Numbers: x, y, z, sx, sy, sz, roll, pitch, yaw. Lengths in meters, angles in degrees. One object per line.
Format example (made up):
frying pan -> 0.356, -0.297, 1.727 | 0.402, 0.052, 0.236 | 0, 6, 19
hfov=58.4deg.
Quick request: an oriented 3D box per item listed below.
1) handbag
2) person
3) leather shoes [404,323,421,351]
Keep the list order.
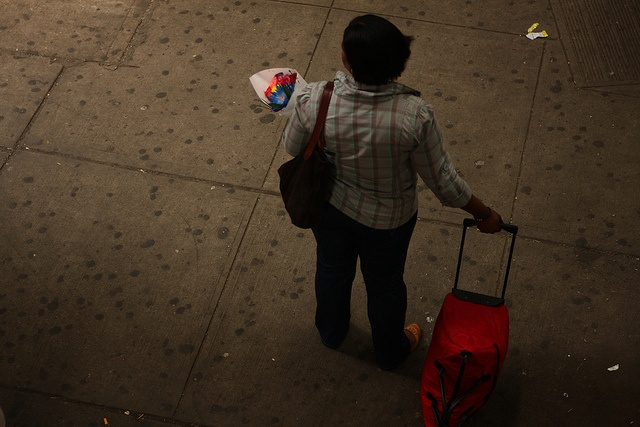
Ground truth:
handbag -> -0.077, -0.360, 3.466 | 0.275, 0.905, 0.691 | 1, 74, -19
person -> 0.352, -0.022, 3.857 | 1.433, 2.419, 0.621 | 12, 40, 16
leather shoes -> 0.705, 0.916, 4.342 | 0.107, 0.206, 0.065 | 12, 18, 35
